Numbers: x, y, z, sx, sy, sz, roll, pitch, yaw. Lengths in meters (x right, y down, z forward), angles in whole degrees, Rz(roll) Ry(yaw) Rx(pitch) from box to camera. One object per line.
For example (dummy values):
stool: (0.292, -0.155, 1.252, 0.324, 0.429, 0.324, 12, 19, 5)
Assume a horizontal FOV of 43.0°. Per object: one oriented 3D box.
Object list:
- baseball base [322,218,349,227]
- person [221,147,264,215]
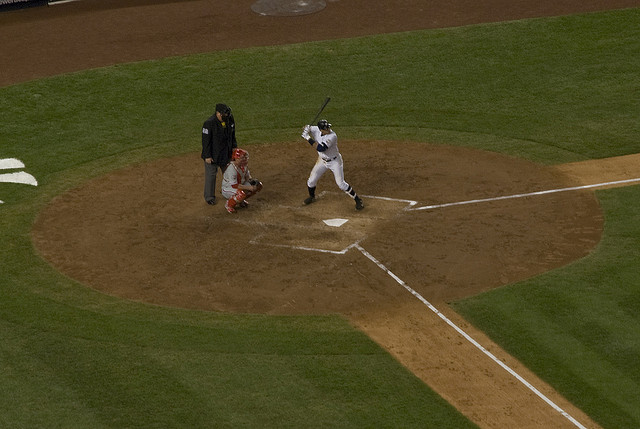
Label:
baseball base: (0.356, 0.185, 20.334, 0.484, 0.018, 0.411, 16, 40, 25)
person: (-2.067, -0.800, 21.166, 1.275, 1.615, 1.234, 16, 44, 7)
